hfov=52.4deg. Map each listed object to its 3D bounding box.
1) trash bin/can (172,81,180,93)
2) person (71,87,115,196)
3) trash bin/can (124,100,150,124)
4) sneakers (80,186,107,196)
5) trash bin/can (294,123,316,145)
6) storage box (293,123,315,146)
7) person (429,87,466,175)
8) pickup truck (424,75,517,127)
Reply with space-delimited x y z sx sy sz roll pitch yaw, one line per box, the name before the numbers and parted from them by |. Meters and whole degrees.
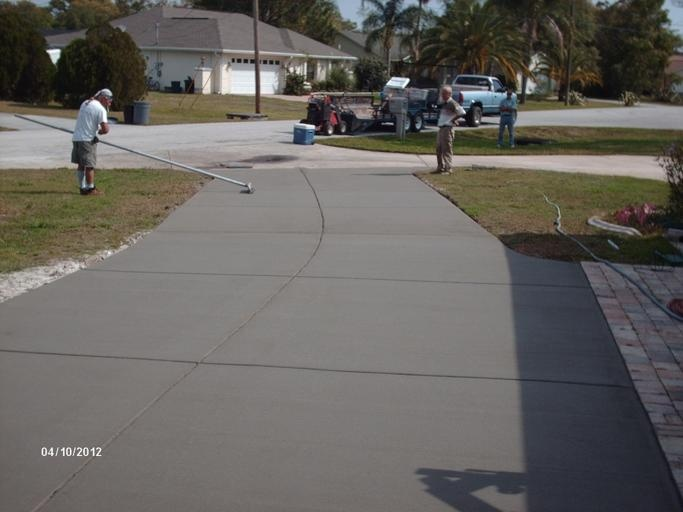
trash bin/can | -10.890 -10.999 45.395 0.471 1.166 0.537 1 -13 -14
person | -4.355 -1.955 12.053 0.619 1.808 0.770 -2 11 -24
trash bin/can | -7.726 -5.351 26.217 0.819 0.955 0.833 -1 9 2
sneakers | -4.416 -1.141 12.299 0.448 0.237 0.178 0 10 -2
trash bin/can | -1.158 -3.719 21.020 0.497 0.822 0.729 -4 15 -14
storage box | -1.165 -3.697 21.027 0.496 0.820 0.727 -4 15 -14
person | 2.341 -2.746 15.314 0.608 1.849 0.554 0 10 -16
pickup truck | 4.865 -6.432 28.358 2.279 2.129 4.261 12 22 41
